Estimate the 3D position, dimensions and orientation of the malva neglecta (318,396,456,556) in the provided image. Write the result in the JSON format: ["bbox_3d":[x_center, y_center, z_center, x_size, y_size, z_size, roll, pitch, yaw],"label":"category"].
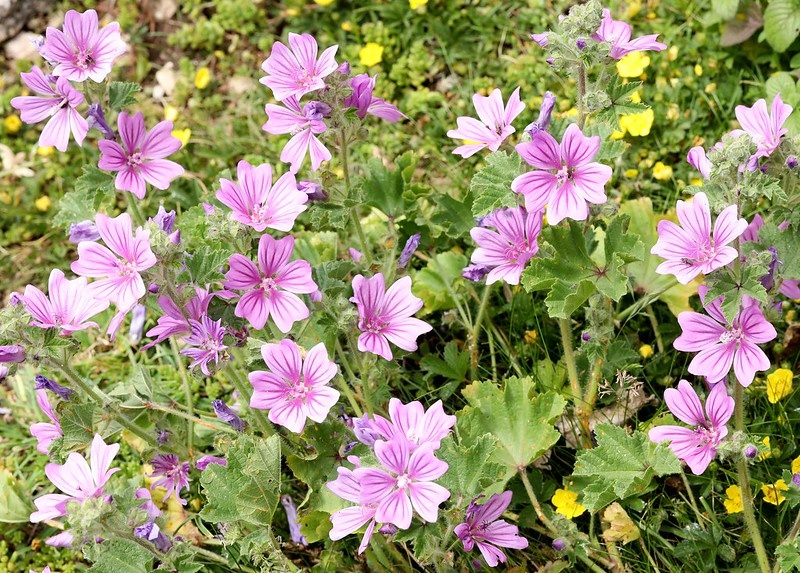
[{"bbox_3d":[0.026,0.701,2.469,0.445,0.222,0.517,30,67,35],"label":"malva neglecta"}]

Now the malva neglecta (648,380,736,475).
[{"bbox_3d":[1.079,0.488,2.576,0.234,0.223,0.285,22,59,30],"label":"malva neglecta"}]

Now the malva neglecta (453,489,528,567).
[{"bbox_3d":[0.336,0.913,2.783,0.280,0.134,0.290,36,65,-14],"label":"malva neglecta"}]

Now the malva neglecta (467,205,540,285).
[{"bbox_3d":[0.427,-0.166,2.737,0.276,0.119,0.295,-29,70,38],"label":"malva neglecta"}]

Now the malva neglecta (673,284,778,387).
[{"bbox_3d":[1.151,0.204,2.511,0.314,0.243,0.283,-7,49,9],"label":"malva neglecta"}]

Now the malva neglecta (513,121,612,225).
[{"bbox_3d":[0.579,-0.403,2.532,0.347,0.375,0.113,-36,41,0],"label":"malva neglecta"}]

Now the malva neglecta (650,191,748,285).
[{"bbox_3d":[1.056,-0.155,2.489,0.275,0.262,0.372,18,57,28],"label":"malva neglecta"}]
